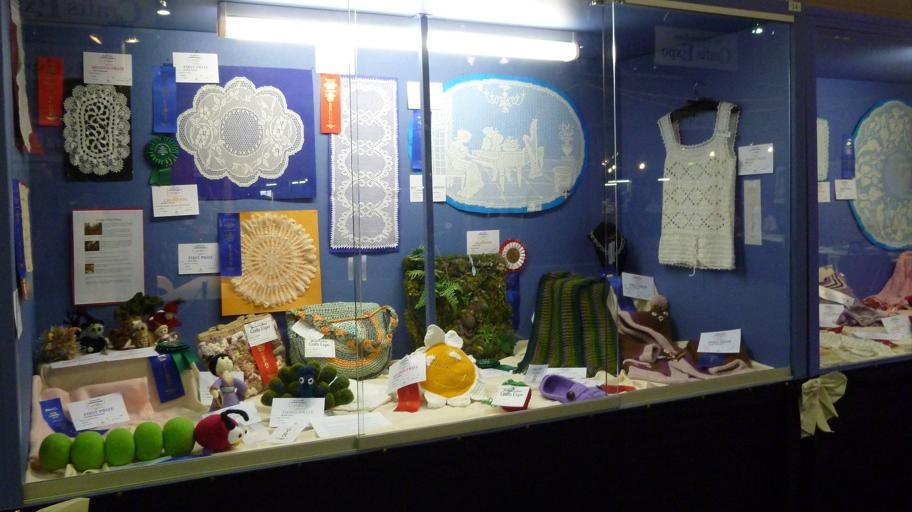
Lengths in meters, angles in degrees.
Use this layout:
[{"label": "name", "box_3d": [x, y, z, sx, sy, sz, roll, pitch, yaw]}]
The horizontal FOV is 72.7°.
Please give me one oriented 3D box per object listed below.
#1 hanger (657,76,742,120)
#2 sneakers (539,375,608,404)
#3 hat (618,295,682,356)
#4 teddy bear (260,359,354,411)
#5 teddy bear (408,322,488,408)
[{"label": "hanger", "box_3d": [1.428, -0.913, 3.718, 0.338, 0.144, 0.241, -5, 2, 20]}, {"label": "sneakers", "box_3d": [0.642, 0.759, 3.453, 0.354, 0.152, 0.116, 12, -12, 6]}, {"label": "hat", "box_3d": [1.136, 0.430, 3.664, 0.413, 0.353, 0.122, -5, 8, -21]}, {"label": "teddy bear", "box_3d": [-0.775, 0.673, 3.221, 0.479, 0.225, 0.128, -2, 8, 0]}, {"label": "teddy bear", "box_3d": [-0.060, 0.577, 3.262, 0.403, 0.388, 0.139, -28, 2, -21]}]
